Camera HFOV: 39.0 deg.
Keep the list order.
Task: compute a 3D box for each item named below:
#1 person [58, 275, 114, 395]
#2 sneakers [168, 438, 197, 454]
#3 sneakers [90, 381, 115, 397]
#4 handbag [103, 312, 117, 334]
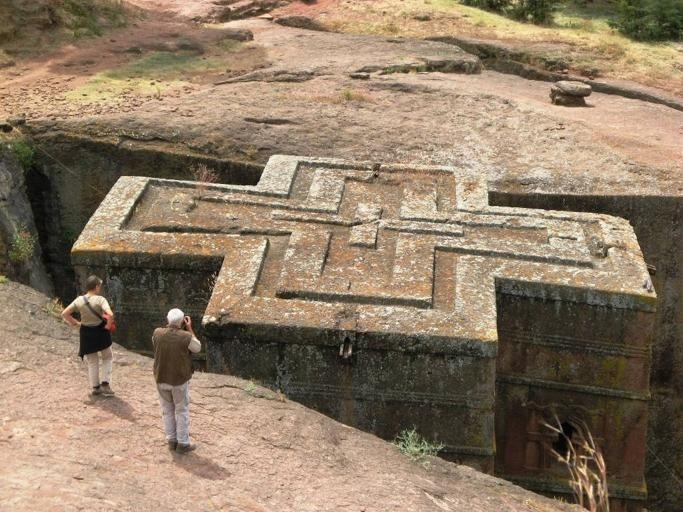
[{"bbox_3d":[-3.276,1.070,12.758,0.582,1.492,0.802,-13,34,-15],"label":"person"},{"bbox_3d":[-2.057,2.407,12.320,0.398,0.135,0.127,-4,32,-18],"label":"sneakers"},{"bbox_3d":[-3.178,1.772,12.809,0.397,0.192,0.121,-2,1,-7],"label":"sneakers"},{"bbox_3d":[-3.071,0.858,12.702,0.122,0.315,0.134,-11,34,-12],"label":"handbag"}]
